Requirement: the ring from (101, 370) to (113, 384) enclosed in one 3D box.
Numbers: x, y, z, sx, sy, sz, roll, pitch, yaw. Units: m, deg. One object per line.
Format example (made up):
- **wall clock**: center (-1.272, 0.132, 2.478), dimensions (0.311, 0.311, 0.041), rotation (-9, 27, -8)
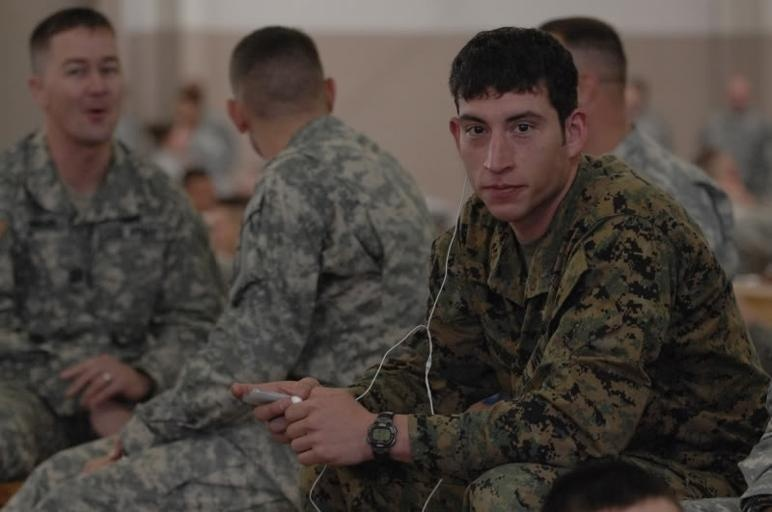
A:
- **ring**: center (-1.156, 0.505, 4.238), dimensions (0.046, 0.050, 0.011), rotation (9, -3, -2)
